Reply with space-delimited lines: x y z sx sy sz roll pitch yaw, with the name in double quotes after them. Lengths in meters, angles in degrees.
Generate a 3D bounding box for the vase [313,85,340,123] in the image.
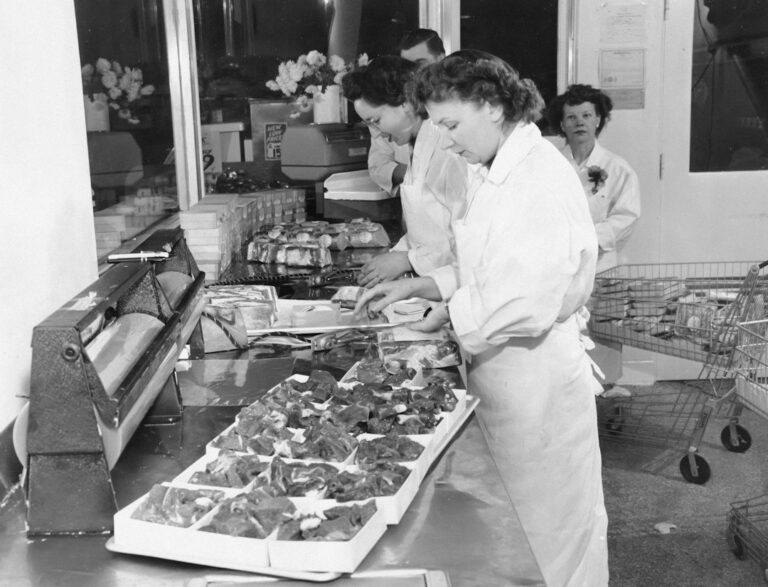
-0.343 -1.281 4.510 0.222 0.257 0.225 0 10 -1 "vase"

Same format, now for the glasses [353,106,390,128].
-0.033 -0.697 2.624 0.106 0.113 0.034 4 16 39 "glasses"
